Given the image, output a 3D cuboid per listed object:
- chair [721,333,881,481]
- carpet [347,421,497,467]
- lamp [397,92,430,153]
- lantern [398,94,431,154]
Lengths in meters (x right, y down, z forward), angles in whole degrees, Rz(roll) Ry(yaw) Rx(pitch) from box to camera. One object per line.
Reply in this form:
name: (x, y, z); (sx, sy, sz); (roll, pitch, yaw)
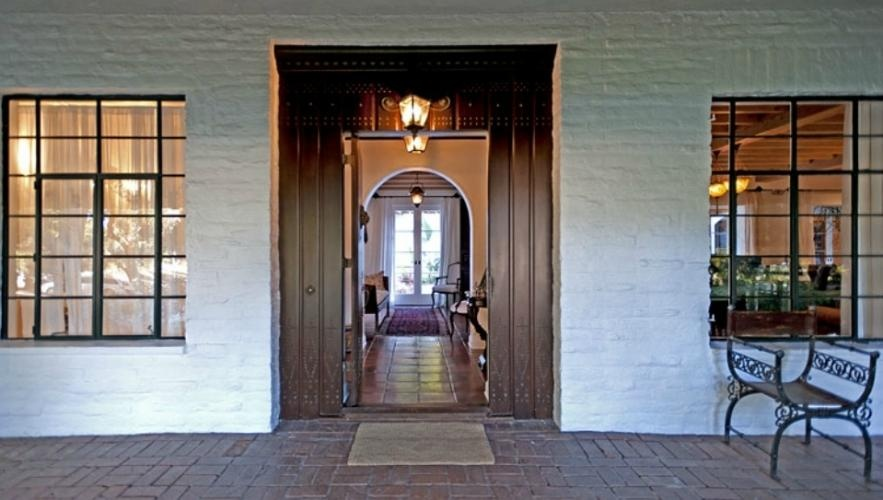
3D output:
chair: (4.120, 1.647, 9.877); (1.632, 1.711, 1.916); (1, -1, 4)
carpet: (-0.220, 2.187, 9.505); (1.625, 0.352, 0.699); (-1, -1, 0)
lamp: (-0.300, -1.525, 10.087); (0.595, 0.667, 0.531); (-3, 0, 4)
lantern: (-0.291, -1.517, 10.059); (0.590, 0.617, 0.516); (-2, 0, 5)
